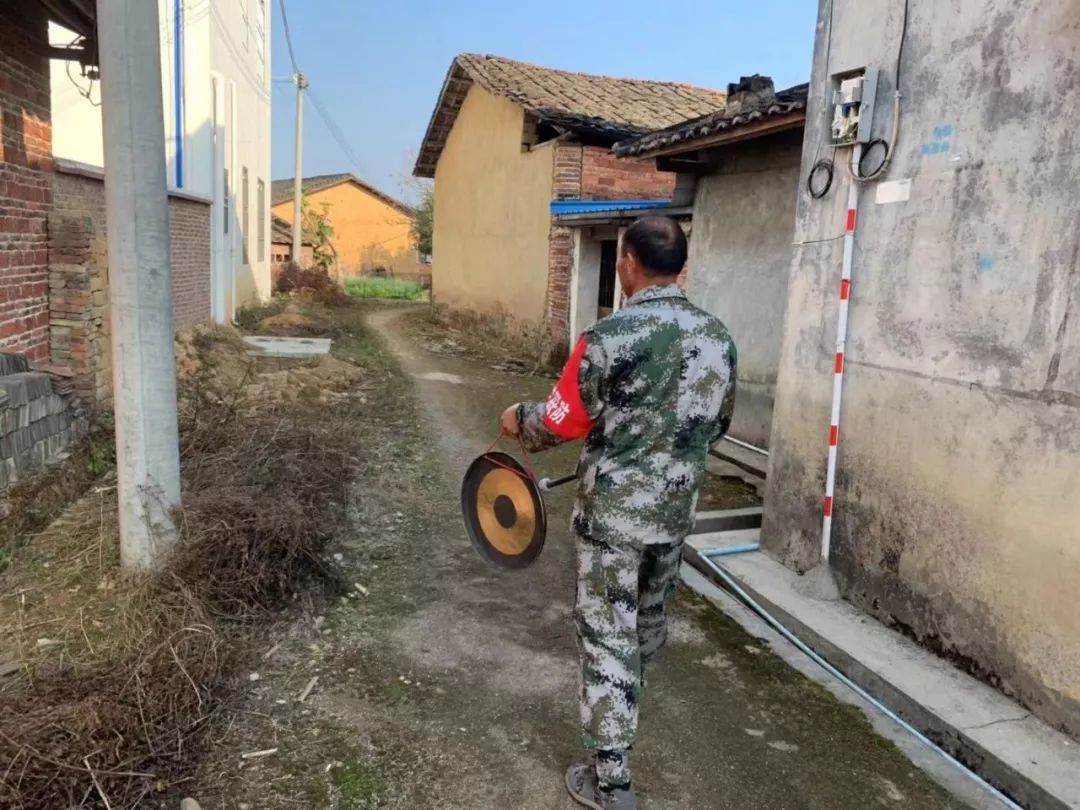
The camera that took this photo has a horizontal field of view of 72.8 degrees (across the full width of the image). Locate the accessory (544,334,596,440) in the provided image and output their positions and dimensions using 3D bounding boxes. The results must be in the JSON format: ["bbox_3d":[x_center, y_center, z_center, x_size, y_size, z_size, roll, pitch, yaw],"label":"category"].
[{"bbox_3d":[0.131,-0.078,3.265,0.230,0.502,0.199,5,13,10],"label":"accessory"}]

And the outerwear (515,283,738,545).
[{"bbox_3d":[0.448,0.028,3.351,0.928,1.139,0.416,0,13,-15],"label":"outerwear"}]
